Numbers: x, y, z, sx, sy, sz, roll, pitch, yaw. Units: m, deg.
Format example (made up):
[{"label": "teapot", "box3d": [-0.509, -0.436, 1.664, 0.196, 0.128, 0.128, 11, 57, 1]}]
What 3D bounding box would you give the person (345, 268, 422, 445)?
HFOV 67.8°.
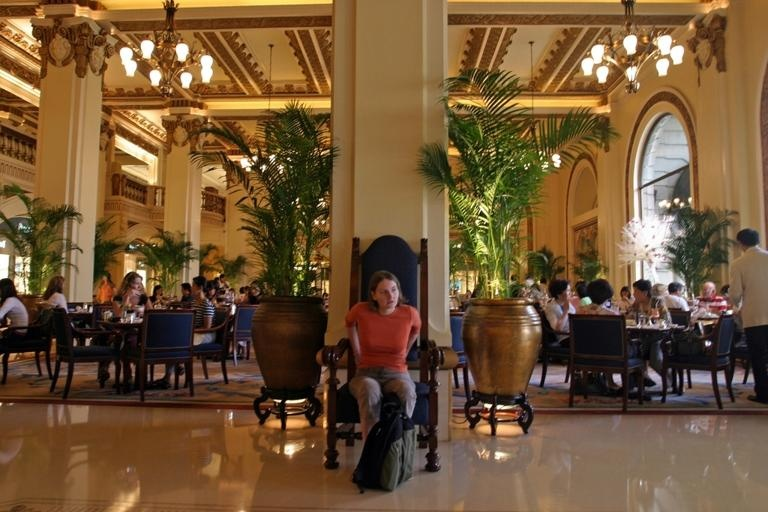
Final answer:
[{"label": "person", "box3d": [-0.022, 0.933, 5.621, 0.743, 1.543, 0.703, 0, 3, 4]}]
